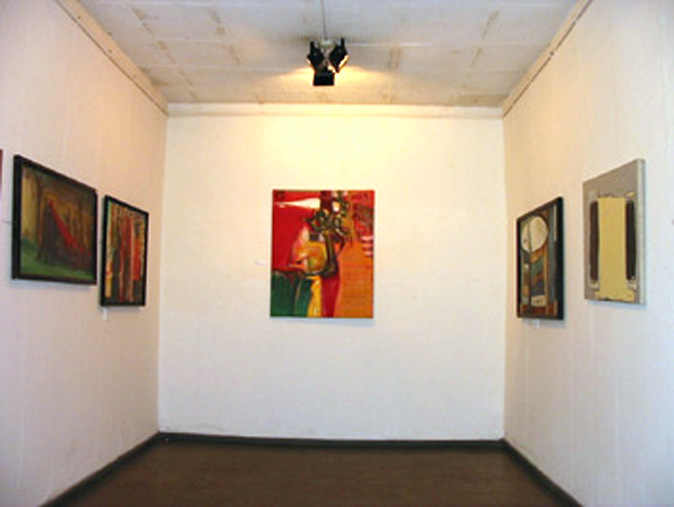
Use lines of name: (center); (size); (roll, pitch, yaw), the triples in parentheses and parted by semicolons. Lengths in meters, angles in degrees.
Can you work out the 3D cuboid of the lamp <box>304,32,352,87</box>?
lamp: (-0.119, -1.851, 5.569); (0.339, 0.459, 0.147); (-3, 23, -15)
